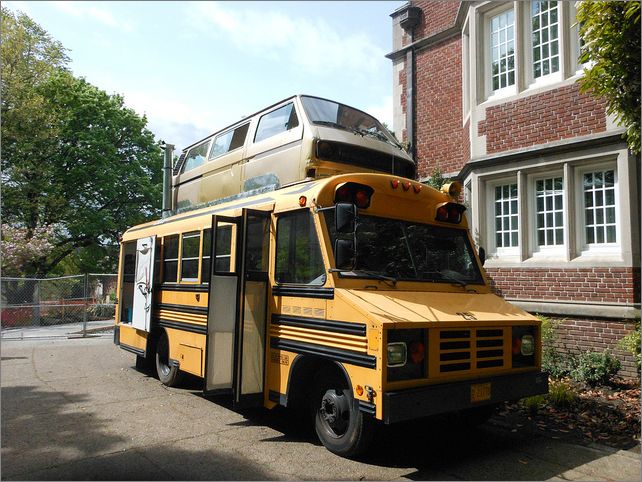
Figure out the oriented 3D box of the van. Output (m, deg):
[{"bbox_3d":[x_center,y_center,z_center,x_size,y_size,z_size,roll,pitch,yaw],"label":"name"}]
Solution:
[{"bbox_3d":[-0.899,-1.322,10.533,2.604,2.285,5.259,6,-10,-43],"label":"van"}]
